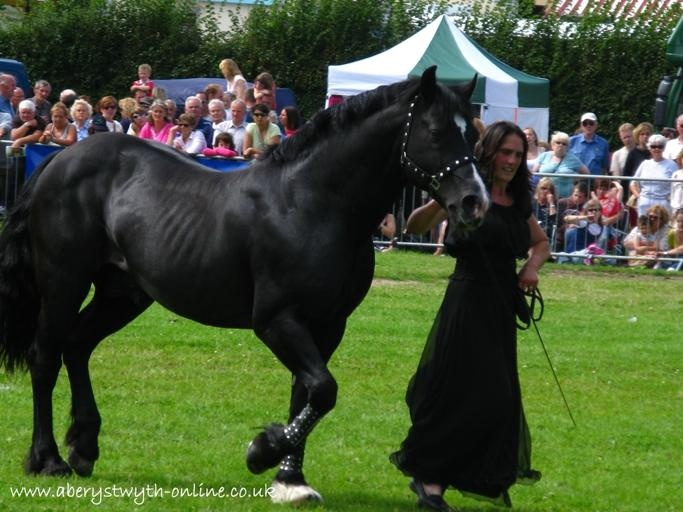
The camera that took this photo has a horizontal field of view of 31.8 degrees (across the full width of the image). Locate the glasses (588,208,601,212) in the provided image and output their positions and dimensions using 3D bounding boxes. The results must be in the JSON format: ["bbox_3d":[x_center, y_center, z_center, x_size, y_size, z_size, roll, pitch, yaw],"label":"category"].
[{"bbox_3d":[3.455,-0.636,16.282,0.162,0.065,0.023,4,11,-17],"label":"glasses"}]
